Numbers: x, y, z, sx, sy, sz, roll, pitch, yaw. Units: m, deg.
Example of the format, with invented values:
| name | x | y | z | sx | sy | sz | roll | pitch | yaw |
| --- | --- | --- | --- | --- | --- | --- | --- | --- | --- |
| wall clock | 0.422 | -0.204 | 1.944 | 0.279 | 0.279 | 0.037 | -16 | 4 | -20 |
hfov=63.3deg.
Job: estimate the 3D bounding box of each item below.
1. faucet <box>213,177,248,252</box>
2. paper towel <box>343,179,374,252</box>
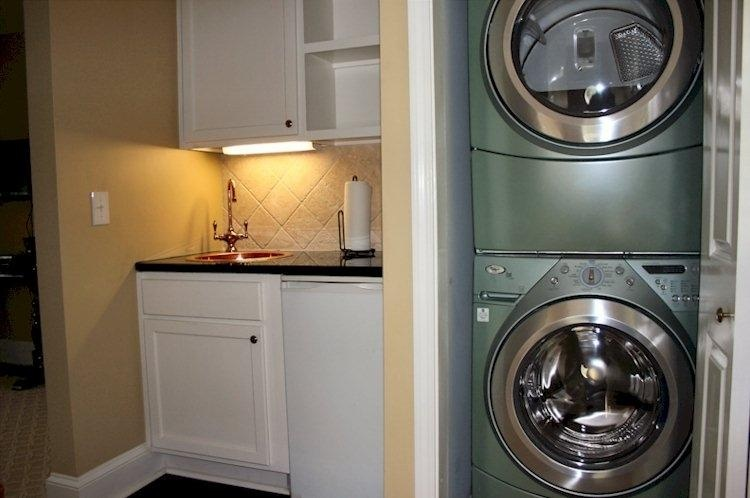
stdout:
| name | x | y | z | sx | sy | sz | roll | pitch | yaw |
| --- | --- | --- | --- | --- | --- | --- | --- | --- | --- |
| faucet | -0.876 | -0.205 | 3.678 | 0.228 | 0.433 | 0.231 | 2 | 7 | 27 |
| paper towel | -0.095 | -0.188 | 3.400 | 0.154 | 0.382 | 0.132 | -2 | 6 | -3 |
